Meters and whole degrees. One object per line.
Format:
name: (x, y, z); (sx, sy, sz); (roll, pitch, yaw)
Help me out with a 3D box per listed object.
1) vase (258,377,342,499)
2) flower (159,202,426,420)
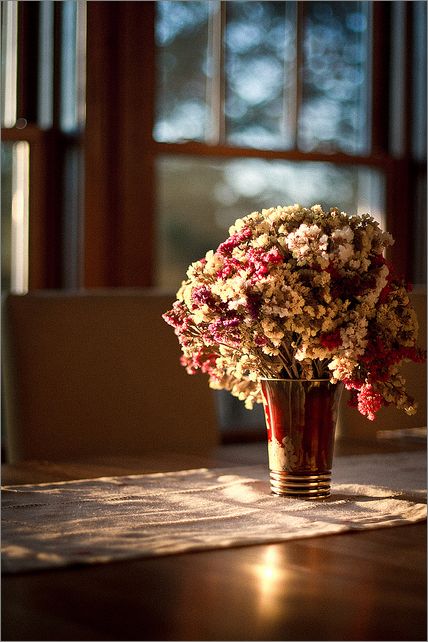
vase: (0.125, 0.168, 0.977); (0.141, 0.156, 0.131); (0, -10, 2)
flower: (0.132, 0.002, 1.034); (0.324, 0.320, 0.362); (-9, -4, 39)
